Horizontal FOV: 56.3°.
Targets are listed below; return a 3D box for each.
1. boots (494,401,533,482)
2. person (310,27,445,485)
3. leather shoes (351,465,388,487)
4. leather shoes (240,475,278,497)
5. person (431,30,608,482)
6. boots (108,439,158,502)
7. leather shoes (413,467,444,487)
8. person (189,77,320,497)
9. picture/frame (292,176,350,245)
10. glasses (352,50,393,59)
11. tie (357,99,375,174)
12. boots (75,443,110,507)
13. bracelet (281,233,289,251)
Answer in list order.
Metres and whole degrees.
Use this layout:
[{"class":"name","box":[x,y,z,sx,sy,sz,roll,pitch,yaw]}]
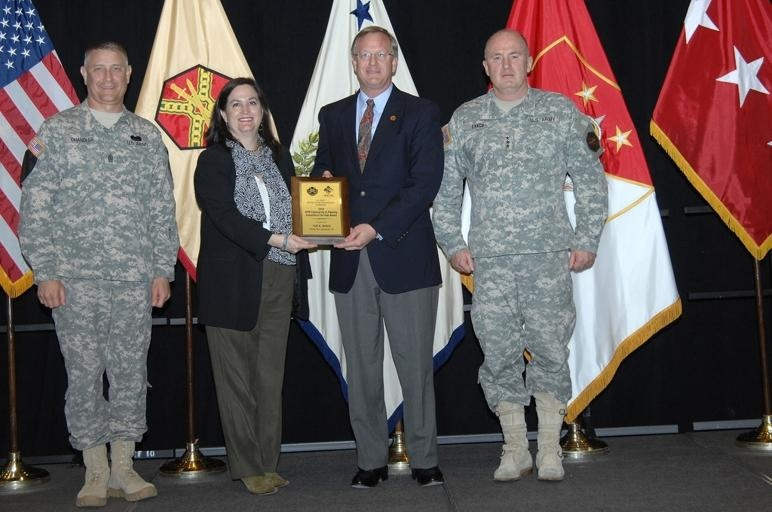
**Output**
[{"class":"boots","box":[0.764,1.175,4.570,0.205,0.478,0.481,-9,-10,26]},{"class":"person","box":[-0.010,0.009,4.537,0.804,2.834,0.483,-3,8,3]},{"class":"leather shoes","box":[-0.103,1.378,4.557,0.202,0.106,0.112,1,2,-27]},{"class":"leather shoes","box":[-0.776,1.410,4.483,0.205,0.081,0.110,3,1,33]},{"class":"person","box":[0.838,-0.009,4.561,1.066,2.779,0.600,-2,8,15]},{"class":"boots","box":[-1.591,1.339,4.498,0.344,0.352,0.144,-2,-2,30]},{"class":"leather shoes","box":[0.263,1.380,4.488,0.223,0.106,0.090,-4,-1,19]},{"class":"person","box":[-0.818,0.194,4.508,0.704,2.560,0.474,-6,8,-17]},{"class":"picture/frame","box":[-0.392,-0.270,4.349,0.380,0.485,0.046,-1,-3,-3]},{"class":"glasses","box":[-0.084,-1.239,4.474,0.241,0.075,0.094,-4,9,2]},{"class":"tie","box":[-0.128,-0.743,4.513,0.088,0.464,0.049,0,-13,12]},{"class":"boots","box":[-1.802,1.352,4.435,0.210,0.348,0.225,-8,9,-26]},{"class":"bracelet","box":[-0.612,-0.074,4.396,0.020,0.071,0.078,10,47,-4]}]
